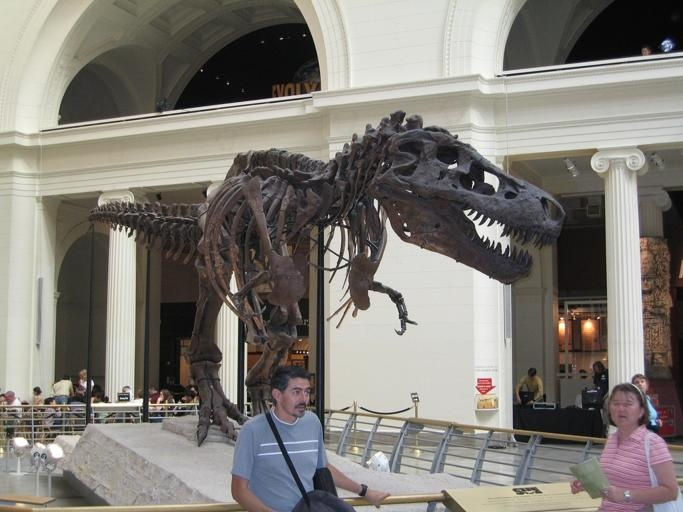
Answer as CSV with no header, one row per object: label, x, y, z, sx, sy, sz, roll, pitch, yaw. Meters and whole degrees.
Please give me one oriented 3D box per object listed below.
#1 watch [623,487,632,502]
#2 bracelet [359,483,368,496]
watch,1.966,1.658,4.889,0.050,0.080,0.069,1,-1,0
bracelet,0.158,1.688,5.093,0.073,0.113,0.102,5,-27,-5
